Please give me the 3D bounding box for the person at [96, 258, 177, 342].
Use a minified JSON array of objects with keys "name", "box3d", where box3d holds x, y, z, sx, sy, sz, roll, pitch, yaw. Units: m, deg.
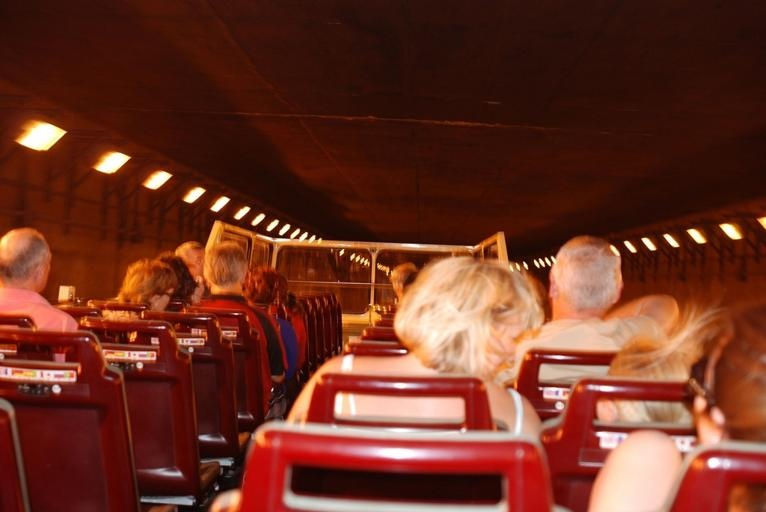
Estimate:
[{"name":"person","box3d":[-2.030,0.371,4.949,0.433,0.738,0.352,14,11,-23]}]
